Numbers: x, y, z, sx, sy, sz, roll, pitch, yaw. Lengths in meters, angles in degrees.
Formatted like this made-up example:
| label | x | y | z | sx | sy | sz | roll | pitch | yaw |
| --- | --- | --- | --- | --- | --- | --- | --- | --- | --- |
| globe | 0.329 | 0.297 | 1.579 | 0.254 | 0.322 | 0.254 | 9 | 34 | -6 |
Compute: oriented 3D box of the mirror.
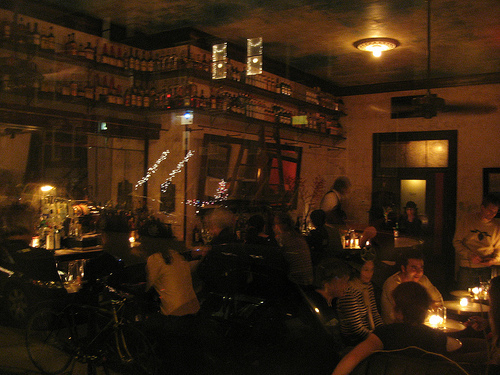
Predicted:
| label | x | y | z | sx | sy | sz | roll | pitch | yaw |
| --- | --- | --- | --- | --- | --- | --- | --- | --- | --- |
| mirror | -0.017 | -0.174 | 5.153 | 1.078 | 0.545 | 0.061 | 4 | 7 | -7 |

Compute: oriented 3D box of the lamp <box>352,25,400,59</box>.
| label | x | y | z | sx | sy | sz | roll | pitch | yaw |
| --- | --- | --- | --- | --- | --- | --- | --- | --- | --- |
| lamp | 1.152 | -1.321 | 4.503 | 0.434 | 0.116 | 0.371 | 0 | -2 | -2 |

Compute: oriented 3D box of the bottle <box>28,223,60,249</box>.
| label | x | y | z | sx | sy | sz | roll | pitch | yaw |
| --- | --- | --- | --- | --- | --- | --- | --- | --- | --- |
| bottle | -1.896 | 0.456 | 4.789 | 0.372 | 0.268 | 0.232 | 2 | 1 | 2 |

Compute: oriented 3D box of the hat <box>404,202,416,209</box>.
| label | x | y | z | sx | sy | sz | roll | pitch | yaw |
| --- | --- | --- | --- | --- | --- | --- | --- | --- | --- |
| hat | 1.451 | 0.160 | 4.512 | 0.098 | 0.038 | 0.113 | 2 | 0 | 22 |

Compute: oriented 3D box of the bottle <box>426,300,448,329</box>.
| label | x | y | z | sx | sy | sz | roll | pitch | yaw |
| --- | --- | --- | --- | --- | --- | --- | --- | --- | --- |
| bottle | 1.463 | 1.018 | 3.924 | 0.168 | 0.205 | 0.108 | 4 | 0 | 9 |

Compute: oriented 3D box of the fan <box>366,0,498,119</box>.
| label | x | y | z | sx | sy | sz | roll | pitch | yaw |
| --- | --- | --- | --- | --- | --- | --- | --- | --- | --- |
| fan | 1.817 | -1.036 | 4.589 | 1.145 | 0.981 | 1.035 | 1 | 2 | 25 |
